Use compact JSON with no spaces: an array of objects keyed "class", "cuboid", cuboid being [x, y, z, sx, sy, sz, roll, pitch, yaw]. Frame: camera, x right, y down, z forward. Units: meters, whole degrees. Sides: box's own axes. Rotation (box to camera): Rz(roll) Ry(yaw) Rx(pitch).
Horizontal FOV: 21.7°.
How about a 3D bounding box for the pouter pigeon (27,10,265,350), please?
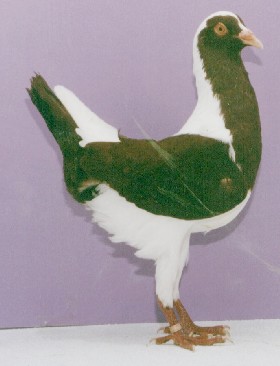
[{"class":"pouter pigeon","cuboid":[0.039,-0.039,2.386,0.739,0.984,0.365,-2,2,8]}]
